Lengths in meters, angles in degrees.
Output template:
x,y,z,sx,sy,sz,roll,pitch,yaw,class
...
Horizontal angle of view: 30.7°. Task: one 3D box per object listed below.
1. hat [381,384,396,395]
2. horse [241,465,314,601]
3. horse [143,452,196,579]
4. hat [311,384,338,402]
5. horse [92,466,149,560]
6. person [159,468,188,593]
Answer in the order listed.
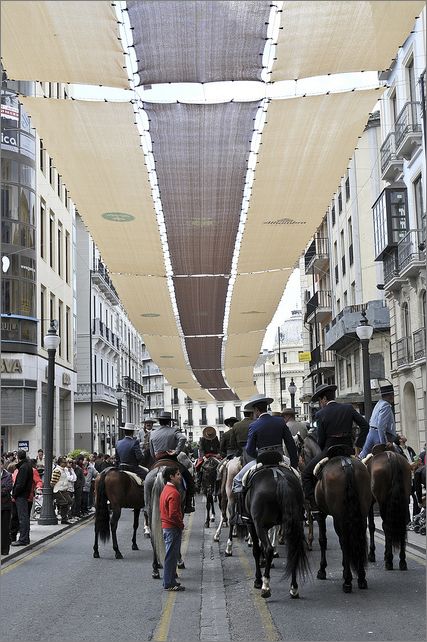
x,y,z,sx,sy,sz,roll,pitch,yaw,class
2.627,1.038,11.699,0.198,0.124,0.179,-1,-26,-1,hat
0.680,2.436,9.687,0.601,1.630,2.428,3,-9,-7,horse
-0.613,2.715,11.713,0.607,1.723,2.363,-5,-8,7,horse
1.434,0.965,10.327,0.345,0.122,0.356,-15,-24,-22,hat
-1.570,3.383,14.409,0.609,1.754,2.394,-6,-12,20,horse
-0.520,2.569,9.583,0.274,1.496,0.810,-3,-13,-4,person
